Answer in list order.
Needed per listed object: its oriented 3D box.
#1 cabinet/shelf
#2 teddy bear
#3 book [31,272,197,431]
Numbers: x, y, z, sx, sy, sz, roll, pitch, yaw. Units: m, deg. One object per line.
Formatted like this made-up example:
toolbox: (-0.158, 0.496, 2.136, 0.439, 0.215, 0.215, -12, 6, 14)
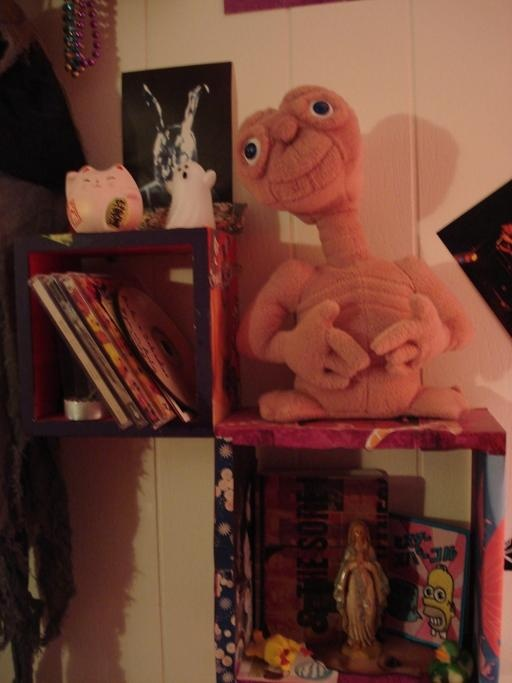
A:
cabinet/shelf: (0.034, 0.162, 1.081, 0.834, 0.789, 0.249, 0, -1, 6)
teddy bear: (0.123, -0.125, 0.987, 0.345, 0.490, 0.140, -1, 9, 20)
book: (-0.217, 0.007, 1.046, 0.227, 0.236, 0.207, -5, 9, -6)
